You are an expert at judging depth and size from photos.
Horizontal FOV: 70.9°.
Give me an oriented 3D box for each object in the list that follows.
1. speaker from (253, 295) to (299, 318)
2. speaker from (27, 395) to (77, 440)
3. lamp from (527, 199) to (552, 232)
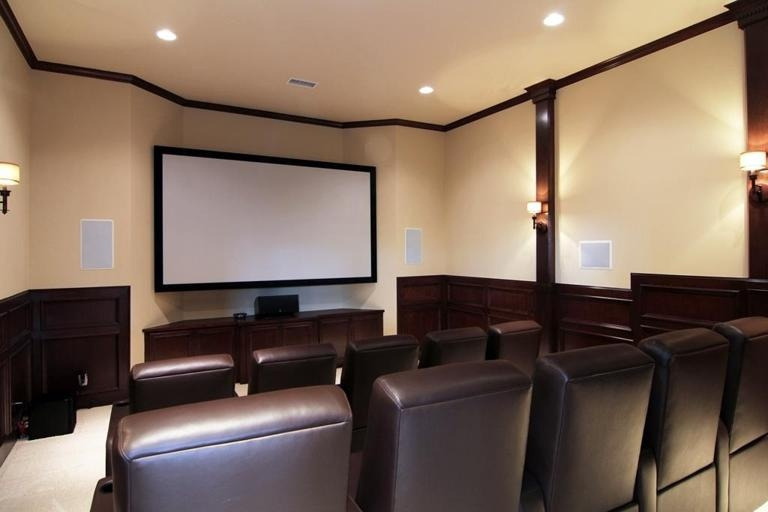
[{"bbox_3d":[-1.477,0.693,7.508,0.441,0.244,0.328,0,6,-24],"label":"speaker"},{"bbox_3d":[-3.500,1.706,5.684,0.340,0.333,0.493,0,2,-27],"label":"speaker"},{"bbox_3d":[1.940,-0.516,6.979,0.246,0.412,0.372,-3,2,-13],"label":"lamp"}]
